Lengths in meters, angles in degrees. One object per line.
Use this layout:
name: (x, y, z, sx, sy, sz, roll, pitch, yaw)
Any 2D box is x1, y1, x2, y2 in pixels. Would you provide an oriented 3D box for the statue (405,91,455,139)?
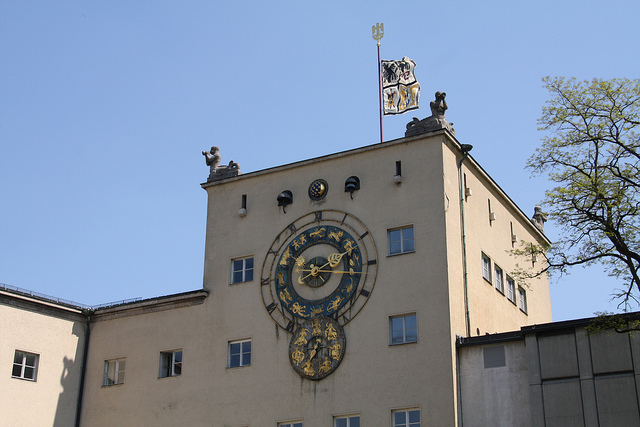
statue: (6.094, -5.130, 54.327, 2.672, 2.631, 1.484, 13, -23, -24)

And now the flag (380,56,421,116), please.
flag: (4.580, -7.241, 58.469, 2.176, 3.527, 0.350, -3, -22, 5)

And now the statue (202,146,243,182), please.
statue: (-5.787, -2.831, 59.101, 2.628, 2.173, 1.000, -2, -12, 20)
